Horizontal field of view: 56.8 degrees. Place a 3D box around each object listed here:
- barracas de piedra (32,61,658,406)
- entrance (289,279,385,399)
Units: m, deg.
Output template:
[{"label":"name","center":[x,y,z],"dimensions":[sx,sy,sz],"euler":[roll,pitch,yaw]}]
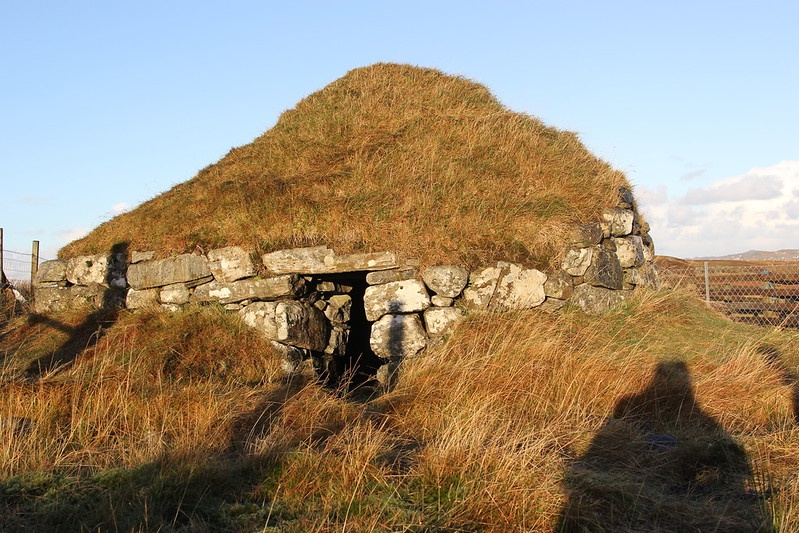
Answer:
[{"label":"barracas de piedra","center":[-0.627,-0.729,13.632],"dimensions":[9.973,5.629,4.556],"euler":[-7,-6,20]},{"label":"entrance","center":[-1.301,0.907,13.635],"dimensions":[1.512,0.673,2.045],"euler":[-9,16,3]}]
